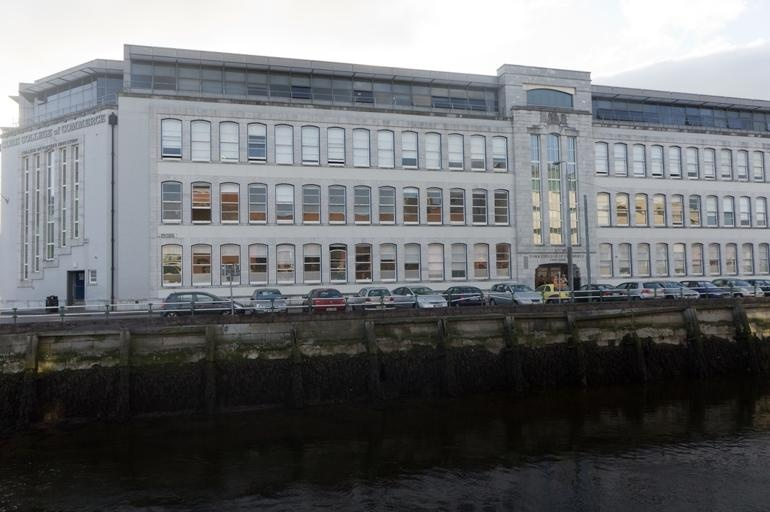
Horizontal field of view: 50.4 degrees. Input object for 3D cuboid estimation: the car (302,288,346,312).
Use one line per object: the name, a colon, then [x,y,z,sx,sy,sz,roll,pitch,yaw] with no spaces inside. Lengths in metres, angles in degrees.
car: [-3.933,2.911,54.299,2.753,1.895,6.088,-3,-8,-4]

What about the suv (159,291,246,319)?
suv: [-12.367,3.566,54.559,5.405,1.475,2.387,-1,-2,-1]
